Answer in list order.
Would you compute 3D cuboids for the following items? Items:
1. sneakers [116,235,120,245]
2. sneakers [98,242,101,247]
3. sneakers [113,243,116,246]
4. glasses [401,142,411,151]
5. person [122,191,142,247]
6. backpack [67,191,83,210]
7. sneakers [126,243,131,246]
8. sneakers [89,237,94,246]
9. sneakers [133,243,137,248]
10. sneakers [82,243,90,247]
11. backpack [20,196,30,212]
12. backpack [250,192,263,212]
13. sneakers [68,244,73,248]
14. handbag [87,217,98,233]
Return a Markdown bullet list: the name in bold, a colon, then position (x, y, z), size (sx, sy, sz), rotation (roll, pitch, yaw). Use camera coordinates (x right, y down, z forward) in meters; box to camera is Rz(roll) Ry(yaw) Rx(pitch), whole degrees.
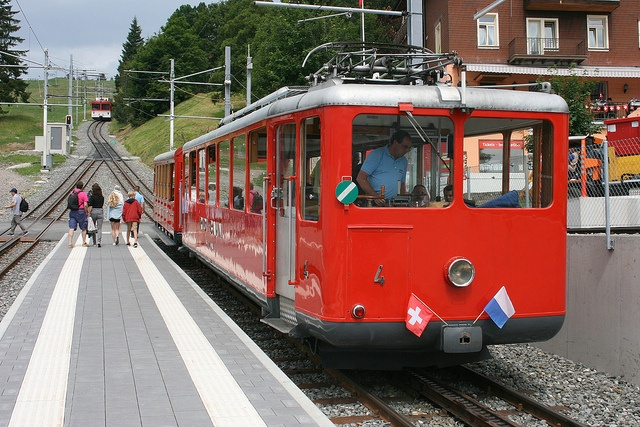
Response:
- **sneakers**: position (-6.904, 0.930, 21.972), size (0.089, 0.281, 0.111), rotation (4, -2, -24)
- **sneakers**: position (-7.369, 1.034, 21.442), size (0.154, 0.222, 0.532), rotation (0, -2, -17)
- **sneakers**: position (-7.088, 1.054, 22.202), size (0.116, 0.121, 0.120), rotation (-1, -4, 42)
- **glasses**: position (1.261, -0.966, 9.254), size (0.093, 0.115, 0.034), rotation (-2, -2, -5)
- **person**: position (-6.349, 0.216, 21.728), size (0.625, 1.817, 1.354), rotation (2, 4, -17)
- **backpack**: position (-7.989, -0.393, 20.897), size (0.352, 0.635, 0.332), rotation (4, 4, -1)
- **sneakers**: position (-6.560, 1.058, 22.012), size (0.089, 0.112, 0.269), rotation (0, -5, -8)
- **sneakers**: position (-7.921, 0.970, 22.287), size (0.133, 0.264, 0.258), rotation (4, -6, -20)
- **sneakers**: position (-6.233, 1.079, 21.718), size (0.116, 0.160, 0.351), rotation (0, -7, -16)
- **sneakers**: position (-7.859, 1.062, 21.584), size (0.277, 0.124, 0.100), rotation (-2, 5, -28)
- **backpack**: position (-11.326, -0.318, 24.564), size (0.226, 0.549, 0.863), rotation (2, 5, -20)
- **backpack**: position (-1.107, -0.198, 11.293), size (0.239, 0.387, 0.364), rotation (3, -5, -26)
- **sneakers**: position (-8.138, 1.064, 21.016), size (0.093, 0.113, 0.253), rotation (1, -2, -38)
- **handbag**: position (-7.516, 0.395, 21.176), size (0.347, 0.633, 0.444), rotation (0, -2, -17)
